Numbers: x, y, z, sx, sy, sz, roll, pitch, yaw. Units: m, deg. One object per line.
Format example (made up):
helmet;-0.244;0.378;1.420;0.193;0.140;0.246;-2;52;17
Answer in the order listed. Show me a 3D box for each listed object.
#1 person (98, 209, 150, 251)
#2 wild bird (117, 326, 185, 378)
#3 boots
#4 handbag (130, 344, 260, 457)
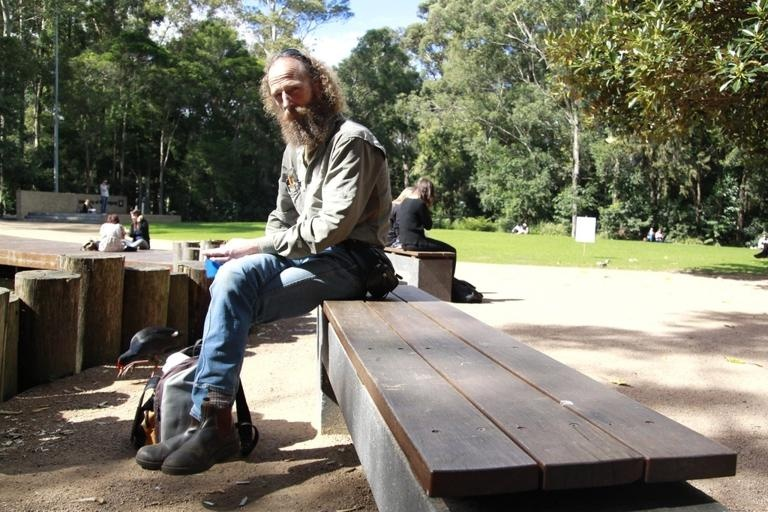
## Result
person;-5.665;-0.623;14.308;1.115;0.790;1.450;5;-4;19
wild bird;-2.249;0.917;6.244;0.658;0.413;0.312;-27;1;10
boots;-1.340;1.362;5.112;0.987;0.567;0.391;3;6;-40
handbag;-1.626;1.202;5.659;1.163;1.084;0.770;8;2;-14
